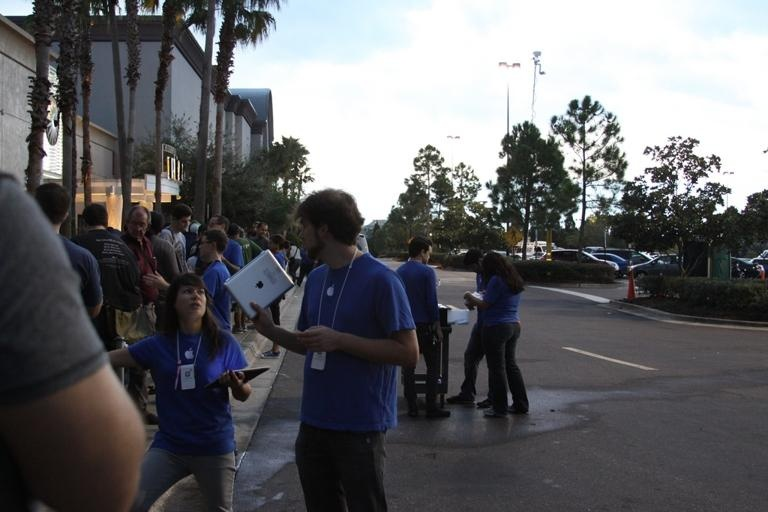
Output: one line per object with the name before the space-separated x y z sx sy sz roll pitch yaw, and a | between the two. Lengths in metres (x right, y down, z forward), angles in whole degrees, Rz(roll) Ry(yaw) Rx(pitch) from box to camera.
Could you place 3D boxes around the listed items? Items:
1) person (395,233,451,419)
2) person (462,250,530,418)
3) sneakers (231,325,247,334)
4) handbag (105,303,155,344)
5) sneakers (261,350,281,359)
person | 0.495 0.852 7.943 0.803 2.229 0.717 0 -1 5
person | 1.526 0.915 8.325 0.711 2.172 0.965 2 -1 -1
sneakers | -2.880 1.476 12.838 0.344 0.174 0.131 2 -2 -8
handbag | -2.555 0.665 6.550 0.281 0.369 0.480 -1 -6 -5
sneakers | -1.972 1.693 11.104 0.289 0.148 0.125 1 -2 16
